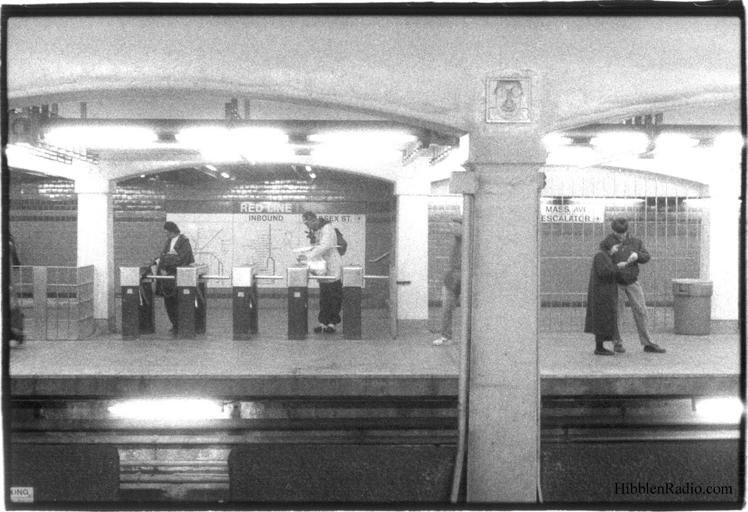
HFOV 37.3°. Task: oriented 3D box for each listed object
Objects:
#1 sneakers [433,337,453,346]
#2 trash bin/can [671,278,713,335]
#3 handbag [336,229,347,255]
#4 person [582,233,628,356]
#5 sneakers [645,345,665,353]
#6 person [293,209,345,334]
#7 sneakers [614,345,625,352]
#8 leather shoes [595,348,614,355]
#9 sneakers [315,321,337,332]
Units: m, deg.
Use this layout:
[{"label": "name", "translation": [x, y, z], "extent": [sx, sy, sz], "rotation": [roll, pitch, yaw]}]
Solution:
[{"label": "sneakers", "translation": [1.095, 1.388, 17.865], "extent": [0.272, 0.107, 0.119], "rotation": [-3, -2, 5]}, {"label": "trash bin/can", "translation": [5.340, 0.864, 18.759], "extent": [0.702, 0.937, 0.750], "rotation": [2, 2, 37]}, {"label": "handbag", "translation": [-0.528, -0.233, 19.250], "extent": [0.176, 0.386, 0.297], "rotation": [-6, 2, -15]}, {"label": "person", "translation": [3.539, 0.596, 17.028], "extent": [0.616, 1.840, 0.261], "rotation": [0, 0, 12]}, {"label": "sneakers", "translation": [4.304, 1.444, 17.193], "extent": [0.379, 0.139, 0.121], "rotation": [0, 5, 8]}, {"label": "person", "translation": [-0.858, 0.260, 18.836], "extent": [0.734, 2.051, 0.854], "rotation": [0, 0, -2]}, {"label": "sneakers", "translation": [3.727, 1.418, 16.959], "extent": [0.069, 0.080, 0.199], "rotation": [-1, -8, -1]}, {"label": "leather shoes", "translation": [3.509, 1.480, 17.001], "extent": [0.208, 0.076, 0.114], "rotation": [-2, 3, 11]}, {"label": "sneakers", "translation": [-0.811, 1.204, 18.757], "extent": [0.314, 0.121, 0.172], "rotation": [4, 5, -6]}]
